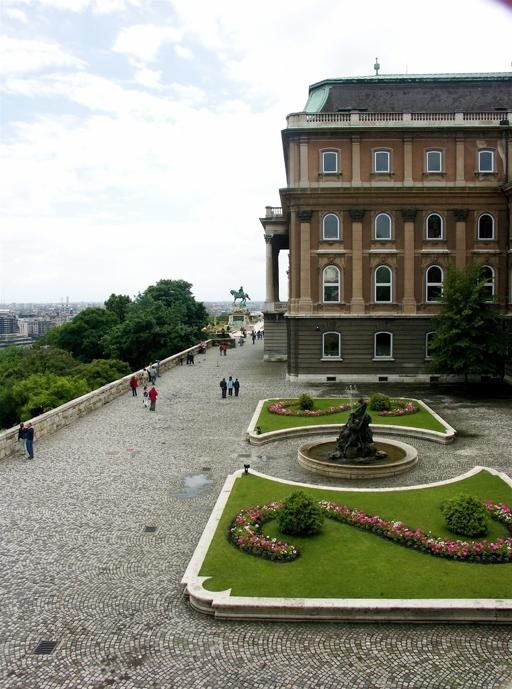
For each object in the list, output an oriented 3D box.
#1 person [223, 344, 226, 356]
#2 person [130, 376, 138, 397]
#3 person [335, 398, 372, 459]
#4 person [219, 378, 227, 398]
[{"bbox_3d":[-3.128,0.617,60.963,0.208,0.854,0.608,-3,3,-12],"label":"person"},{"bbox_3d":[-7.422,2.520,37.379,0.337,1.103,1.634,-3,3,-15],"label":"person"},{"bbox_3d":[3.315,2.830,20.809,1.238,1.962,0.812,-2,3,8],"label":"person"},{"bbox_3d":[-1.831,2.477,34.695,0.307,1.015,0.872,-2,3,-2],"label":"person"}]
